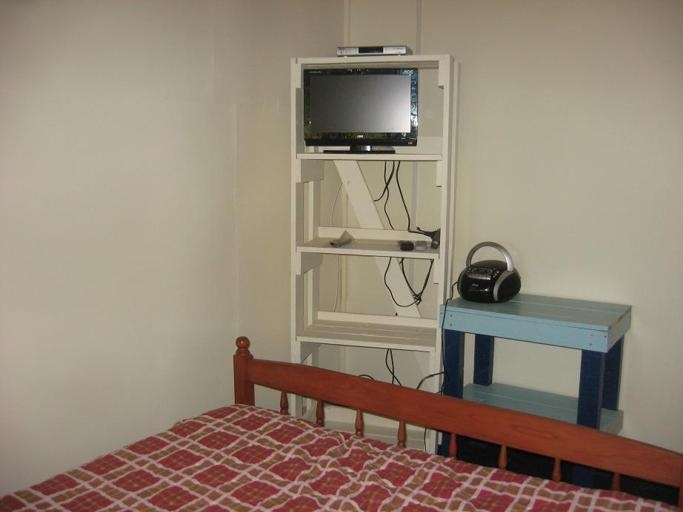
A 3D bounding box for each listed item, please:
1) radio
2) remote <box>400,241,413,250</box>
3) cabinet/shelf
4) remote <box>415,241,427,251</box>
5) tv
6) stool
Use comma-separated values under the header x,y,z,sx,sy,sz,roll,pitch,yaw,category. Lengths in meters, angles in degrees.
x,y,z,sx,sy,sz,roll,pitch,yaw,category
0.750,0.071,2.861,0.296,0.312,0.314,1,9,12,radio
0.336,-0.055,2.869,0.047,0.024,0.052,1,11,5,remote
0.148,-0.149,2.999,0.785,2.124,0.397,5,11,18,cabinet/shelf
0.411,-0.054,2.857,0.063,0.038,0.082,2,14,1,remote
0.099,-0.739,2.750,0.529,0.401,0.056,1,3,8,tv
1.024,0.460,2.898,0.809,0.894,0.709,6,11,31,stool
